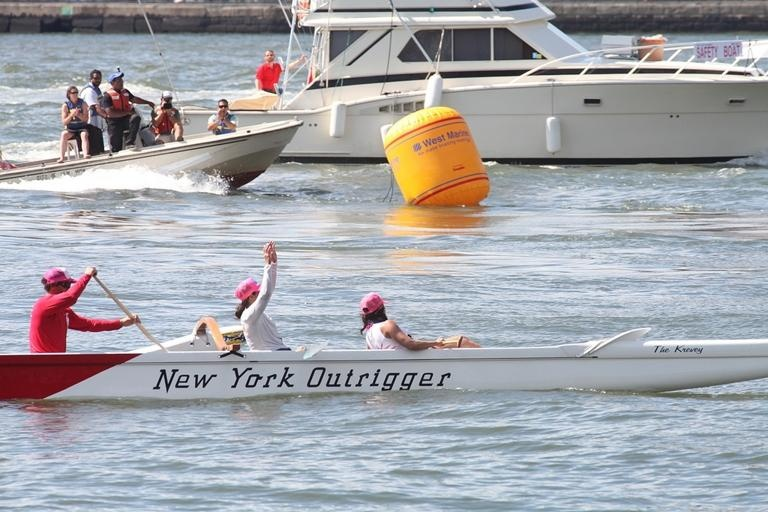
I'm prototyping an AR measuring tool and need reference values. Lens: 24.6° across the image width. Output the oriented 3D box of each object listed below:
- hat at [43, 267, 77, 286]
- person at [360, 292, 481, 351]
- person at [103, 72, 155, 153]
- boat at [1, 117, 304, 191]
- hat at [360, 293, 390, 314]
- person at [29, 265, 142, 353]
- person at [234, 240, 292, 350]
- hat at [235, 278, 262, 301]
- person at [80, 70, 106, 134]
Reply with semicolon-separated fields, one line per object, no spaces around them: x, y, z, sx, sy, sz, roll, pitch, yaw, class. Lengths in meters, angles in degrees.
-4.821;0.308;26.179;0.501;0.194;0.246;4;18;-16;hat
0.628;1.155;27.119;2.361;0.936;1.029;2;-6;-33;person
-5.136;-2.870;35.271;0.961;1.681;1.508;-2;11;-5;person
-4.508;-2.069;36.633;6.517;1.082;1.098;-7;24;0;boat
-0.148;0.678;26.575;0.303;0.195;0.391;7;32;35;hat
-4.605;0.790;26.177;1.366;1.284;0.436;-1;13;-3;person
-1.827;0.586;26.346;0.756;1.652;0.503;-2;13;-5;person
-2.007;0.513;26.354;0.457;0.206;0.283;-26;25;16;hat
-5.802;-3.055;35.180;0.467;1.250;1.247;-3;11;-8;person
